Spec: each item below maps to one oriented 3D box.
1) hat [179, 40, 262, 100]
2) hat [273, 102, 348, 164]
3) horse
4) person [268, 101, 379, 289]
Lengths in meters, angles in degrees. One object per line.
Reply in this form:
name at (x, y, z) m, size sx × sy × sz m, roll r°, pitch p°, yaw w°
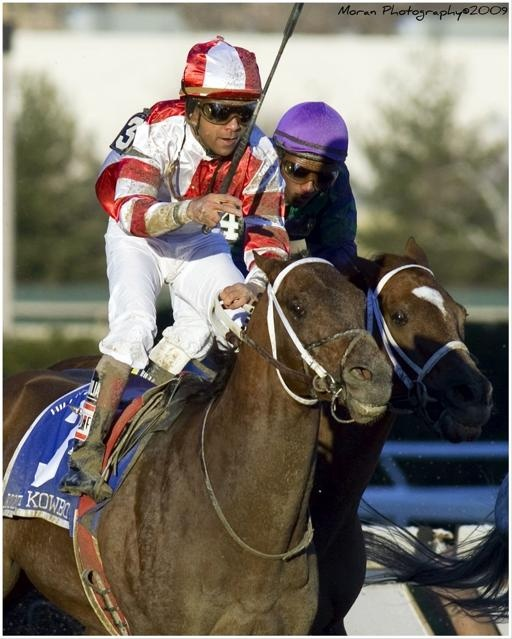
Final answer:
hat at (-0.137, -0.956, 4.008) m, size 0.228 × 0.158 × 0.300 m, roll 4°, pitch 2°, yaw -24°
hat at (0.269, -0.903, 5.005) m, size 0.290 × 0.198 × 0.363 m, roll 12°, pitch 11°, yaw -29°
horse at (-0.295, 0.522, 3.676) m, size 0.673 × 1.662 × 1.554 m, roll -7°, pitch 19°, yaw -34°
person at (0.278, -0.604, 5.017) m, size 0.410 × 0.919 × 0.539 m, roll -3°, pitch -15°, yaw -5°
